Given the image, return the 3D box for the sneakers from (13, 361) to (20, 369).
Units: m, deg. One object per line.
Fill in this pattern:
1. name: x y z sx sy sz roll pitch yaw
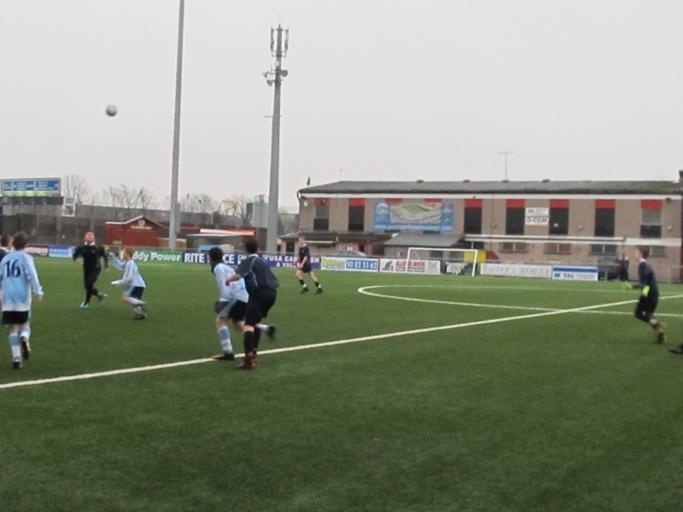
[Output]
1. sneakers: -4.648 1.547 11.893 0.097 0.113 0.099 -2 -6 14

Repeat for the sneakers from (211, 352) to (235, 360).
1. sneakers: -1.825 1.539 12.802 0.350 0.144 0.121 2 2 11

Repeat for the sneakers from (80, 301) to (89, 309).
1. sneakers: -5.847 1.123 18.923 0.120 0.128 0.294 2 -5 -23

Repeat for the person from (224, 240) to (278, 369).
1. person: -1.330 0.690 12.594 0.703 1.828 1.228 0 8 -5

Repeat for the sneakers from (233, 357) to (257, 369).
1. sneakers: -1.386 1.555 12.199 0.340 0.238 0.120 5 3 9

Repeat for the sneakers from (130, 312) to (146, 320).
1. sneakers: -4.161 1.206 17.124 0.244 0.164 0.426 -2 9 -16
